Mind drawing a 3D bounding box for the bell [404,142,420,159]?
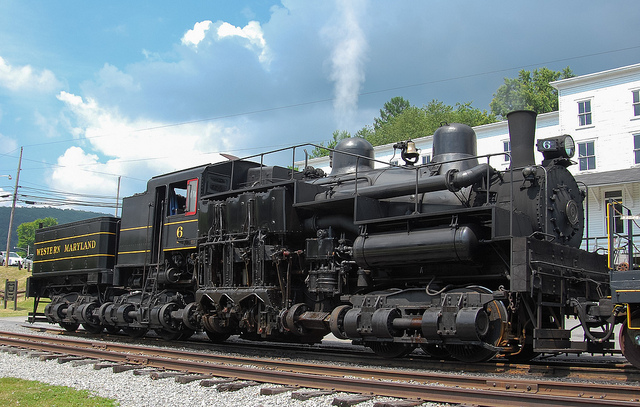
[{"bbox_3d":[2.834,-1.685,15.316,0.513,0.486,0.471,0,-2,-5],"label":"bell"}]
